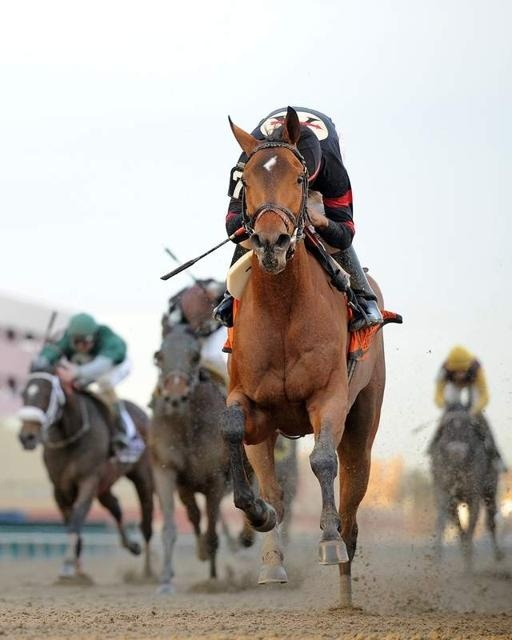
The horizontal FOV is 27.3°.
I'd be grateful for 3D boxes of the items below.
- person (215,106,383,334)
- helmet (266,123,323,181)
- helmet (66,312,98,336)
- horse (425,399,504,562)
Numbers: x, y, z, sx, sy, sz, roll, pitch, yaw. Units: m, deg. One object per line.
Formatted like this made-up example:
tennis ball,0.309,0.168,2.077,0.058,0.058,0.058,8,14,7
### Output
person,0.260,-0.531,5.844,0.632,0.993,1.864,0,-5,13
helmet,0.163,-0.812,5.210,0.224,0.300,0.289,3,5,16
helmet,-1.335,0.055,8.062,0.228,0.241,0.302,1,12,-1
horse,1.721,1.248,8.643,0.617,1.147,0.991,0,-7,9
